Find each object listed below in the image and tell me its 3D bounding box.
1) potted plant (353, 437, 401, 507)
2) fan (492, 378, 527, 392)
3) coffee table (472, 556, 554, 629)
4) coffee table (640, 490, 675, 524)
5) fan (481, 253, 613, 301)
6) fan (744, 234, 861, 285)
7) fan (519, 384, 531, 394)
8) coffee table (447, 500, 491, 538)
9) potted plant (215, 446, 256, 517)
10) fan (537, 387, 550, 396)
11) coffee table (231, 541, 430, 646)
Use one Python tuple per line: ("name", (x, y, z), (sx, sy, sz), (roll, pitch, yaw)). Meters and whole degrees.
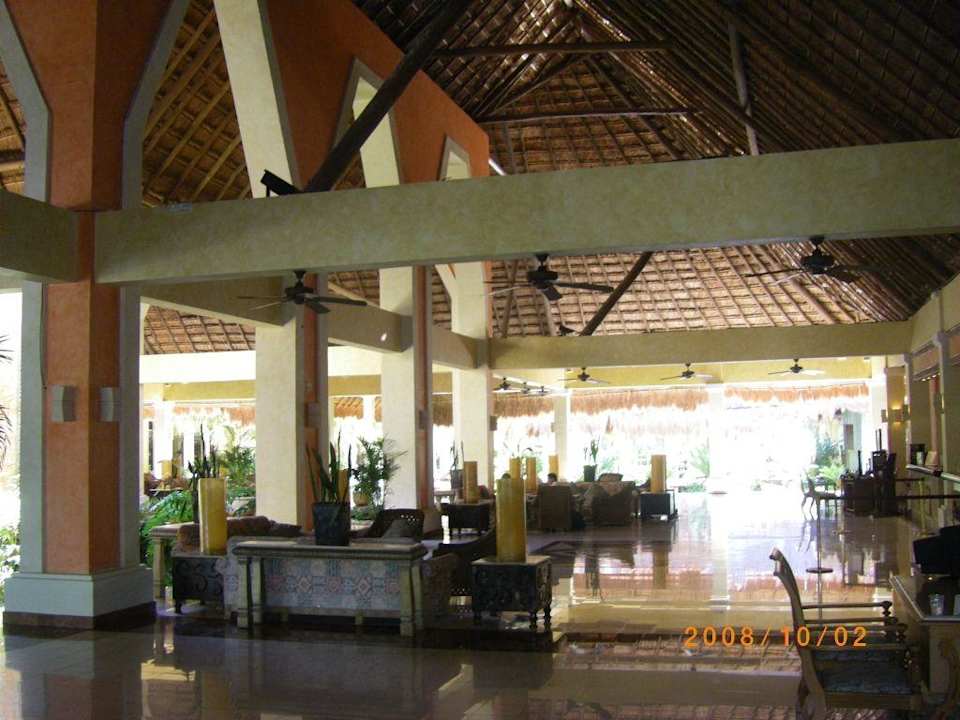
("potted plant", (-1.437, 1.541, 11.432), (0.498, 0.785, 0.473), (15, -7, 37))
("fan", (0.612, 0.529, 18.656), (0.779, 0.229, 0.342), (-10, -6, 19))
("coffee table", (0.253, 1.871, 7.109), (0.526, 0.547, 0.553), (-2, -6, 15))
("coffee table", (2.855, 2.371, 14.177), (0.403, 0.498, 0.743), (-1, -1, 15))
("fan", (0.630, -0.875, 8.711), (1.260, 0.501, 1.306), (-3, 1, -30))
("fan", (4.157, -1.310, 11.163), (1.056, 0.416, 1.066), (1, -3, -32))
("fan", (0.974, 0.633, 18.597), (0.346, 0.179, 0.244), (0, -7, -7))
("coffee table", (-0.149, 2.152, 11.845), (0.486, 0.413, 0.523), (-1, -4, 8))
("potted plant", (-3.175, 1.533, 11.313), (0.433, 0.827, 1.921), (1, -5, -16))
("fan", (1.450, 0.718, 19.933), (0.219, 0.150, 0.230), (-1, 4, -8))
("coffee table", (-1.256, 1.871, 7.152), (1.629, 0.708, 0.268), (-1, -5, 15))
